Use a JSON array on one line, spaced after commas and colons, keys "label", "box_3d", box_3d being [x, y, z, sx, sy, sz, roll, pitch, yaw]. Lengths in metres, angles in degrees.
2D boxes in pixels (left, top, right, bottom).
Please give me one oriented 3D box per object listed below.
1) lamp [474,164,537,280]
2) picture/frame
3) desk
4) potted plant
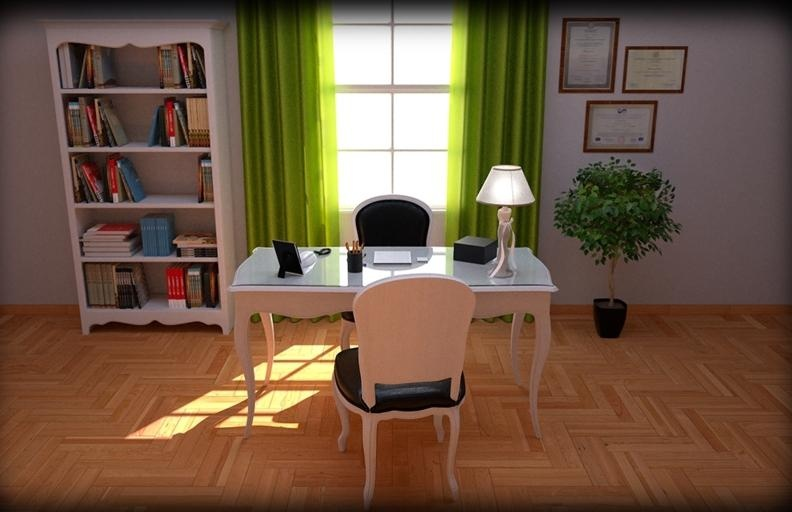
[{"label": "lamp", "box_3d": [0.767, -0.244, 3.960, 0.564, 0.725, 0.549, 4, 13, 21]}, {"label": "picture/frame", "box_3d": [1.987, -1.559, 4.912, 1.129, 1.114, 0.083, -1, 12, -3]}, {"label": "desk", "box_3d": [-0.028, 0.555, 4.116, 2.157, 1.051, 0.897, 0, 21, 5]}, {"label": "potted plant", "box_3d": [1.952, -0.078, 4.929, 1.004, 1.538, 0.716, -12, 20, -31]}]
